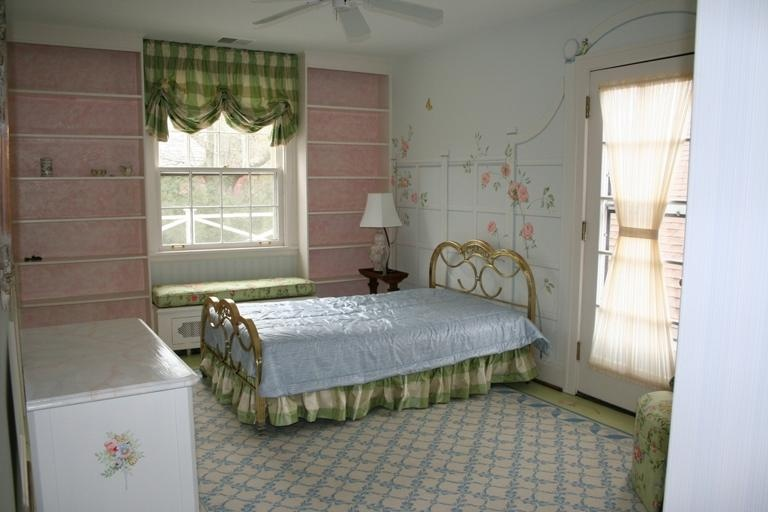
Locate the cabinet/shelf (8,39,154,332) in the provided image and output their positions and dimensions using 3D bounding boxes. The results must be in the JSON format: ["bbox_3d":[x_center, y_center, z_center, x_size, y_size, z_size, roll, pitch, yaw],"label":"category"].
[{"bbox_3d":[-2.819,-0.652,4.638,1.152,2.512,0.334,-4,11,-23],"label":"cabinet/shelf"}]

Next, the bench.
[{"bbox_3d":[-1.546,0.528,5.542,1.950,0.792,0.763,-2,23,-32],"label":"bench"}]

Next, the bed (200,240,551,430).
[{"bbox_3d":[-0.079,0.651,4.110,2.056,1.009,1.598,-3,7,-26],"label":"bed"}]

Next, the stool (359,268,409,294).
[{"bbox_3d":[0.008,0.244,5.513,0.287,0.318,0.500,0,6,-21],"label":"stool"}]
